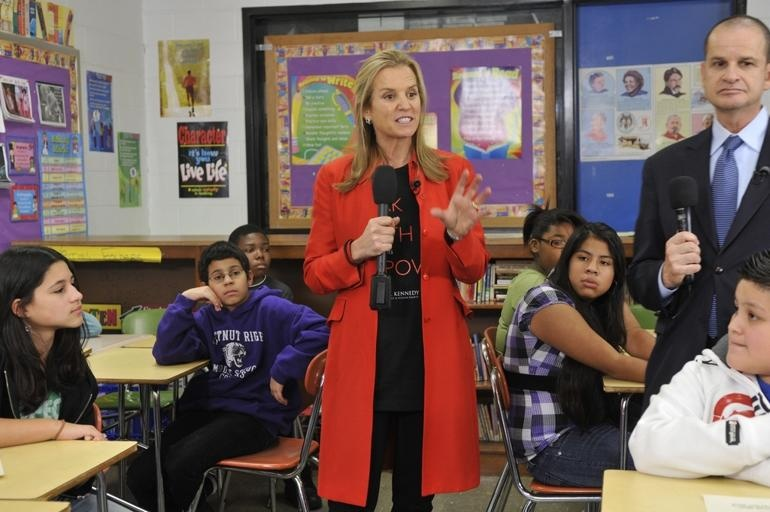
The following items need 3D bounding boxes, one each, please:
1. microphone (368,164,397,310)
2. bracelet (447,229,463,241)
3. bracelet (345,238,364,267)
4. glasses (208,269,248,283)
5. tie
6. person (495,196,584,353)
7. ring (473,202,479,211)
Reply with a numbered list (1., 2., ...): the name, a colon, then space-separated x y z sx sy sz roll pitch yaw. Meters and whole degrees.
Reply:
1. microphone: -0.004 -0.073 2.267 0.097 0.491 0.277 -2 8 3
2. bracelet: 0.256 -0.074 2.310 0.048 0.018 0.037 8 -1 0
3. bracelet: -0.106 -0.016 2.318 0.078 0.099 0.051 5 29 13
4. glasses: -0.830 0.107 3.369 0.099 0.029 0.099 0 -34 -6
5. tie: 1.199 -0.070 2.262 0.121 0.750 0.098 1 -5 29
6. person: 0.907 0.167 3.448 0.588 0.837 0.616 1 3 23
7. ring: 0.325 -0.178 2.261 0.026 0.012 0.031 11 -18 12
